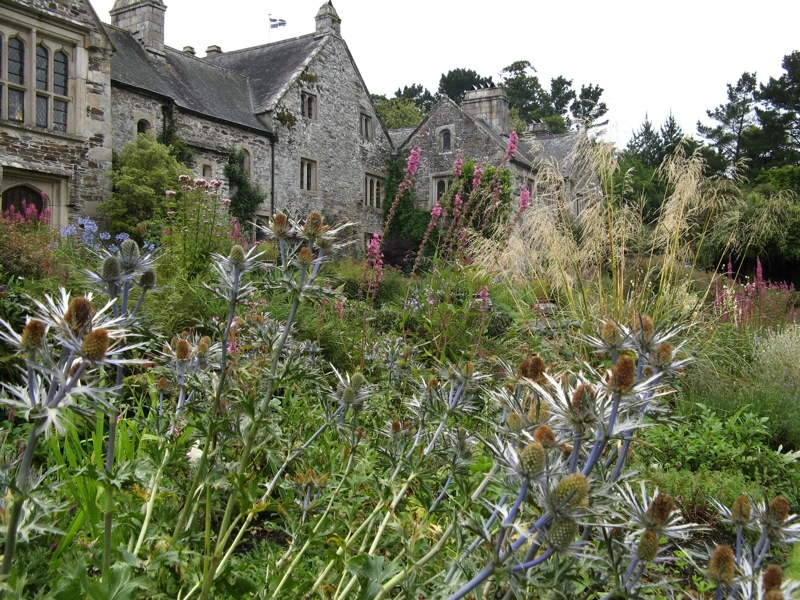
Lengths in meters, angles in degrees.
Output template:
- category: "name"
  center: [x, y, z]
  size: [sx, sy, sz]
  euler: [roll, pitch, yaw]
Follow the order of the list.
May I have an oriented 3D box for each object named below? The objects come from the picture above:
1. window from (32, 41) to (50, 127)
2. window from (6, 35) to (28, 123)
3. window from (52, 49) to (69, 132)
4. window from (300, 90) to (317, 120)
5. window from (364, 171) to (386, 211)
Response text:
- category: "window"
  center: [-7.041, -4.206, 13.791]
  size: [0.261, 1.546, 0.316]
  euler: [3, 8, -42]
- category: "window"
  center: [-7.356, -4.227, 13.416]
  size: [0.296, 1.542, 0.372]
  euler: [13, 8, 38]
- category: "window"
  center: [-6.801, -4.195, 14.066]
  size: [0.342, 1.560, 0.397]
  euler: [4, 8, -37]
- category: "window"
  center: [-2.887, -6.115, 21.941]
  size: [0.082, 1.203, 0.944]
  euler: [-1, 1, 27]
- category: "window"
  center: [-0.935, -3.924, 25.333]
  size: [0.116, 1.746, 1.356]
  euler: [-2, -4, 32]
